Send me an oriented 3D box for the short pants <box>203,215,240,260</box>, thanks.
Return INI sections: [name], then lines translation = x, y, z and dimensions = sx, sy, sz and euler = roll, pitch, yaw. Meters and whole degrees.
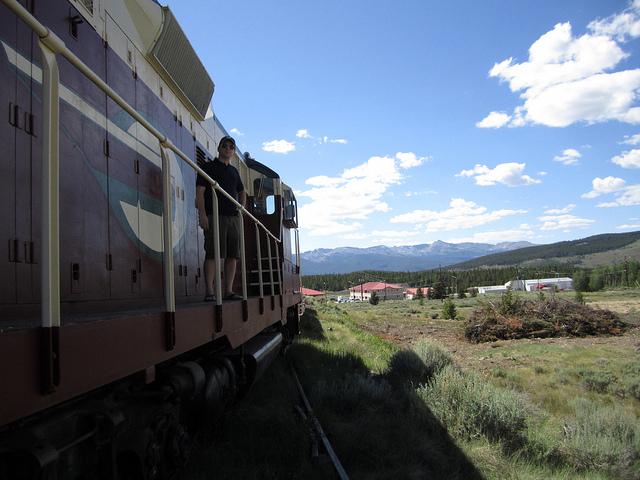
[short pants]
translation = -1.299, -0.035, 5.355
dimensions = 0.308, 0.646, 0.460
euler = -10, -11, 33
